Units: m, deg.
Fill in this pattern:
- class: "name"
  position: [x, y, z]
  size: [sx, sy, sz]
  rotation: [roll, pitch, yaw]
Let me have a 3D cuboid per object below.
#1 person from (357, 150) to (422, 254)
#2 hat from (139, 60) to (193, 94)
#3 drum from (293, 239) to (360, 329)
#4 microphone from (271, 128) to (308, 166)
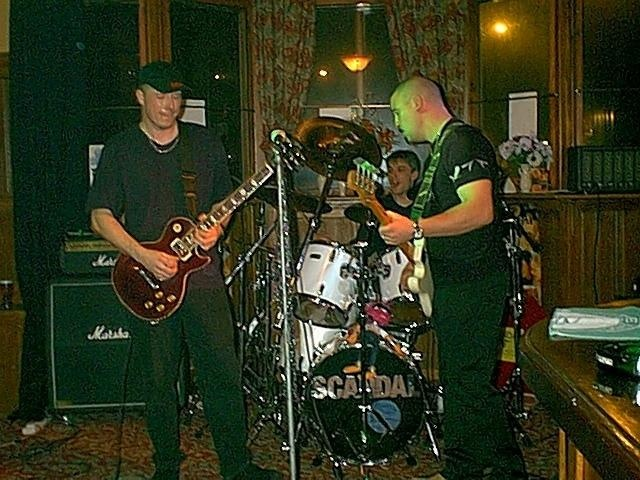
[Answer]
- class: "person"
  position: [0.645, -0.360, 4.559]
  size: [0.397, 0.882, 0.133]
  rotation: [-8, -10, 15]
- class: "hat"
  position: [-0.837, -0.865, 3.226]
  size: [0.254, 0.148, 0.194]
  rotation: [4, 10, 41]
- class: "drum"
  position: [0.066, 0.268, 3.549]
  size: [0.399, 0.475, 0.476]
  rotation: [7, -34, 5]
- class: "microphone"
  position: [-0.162, -0.423, 2.839]
  size: [0.138, 0.194, 0.053]
  rotation: [-47, 27, -15]
